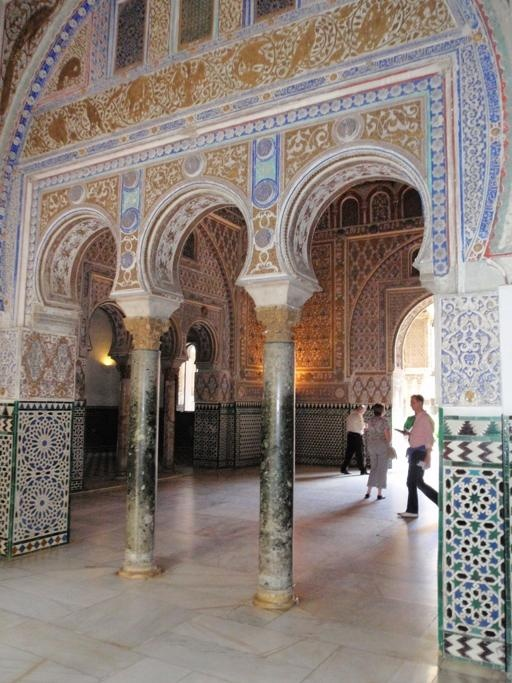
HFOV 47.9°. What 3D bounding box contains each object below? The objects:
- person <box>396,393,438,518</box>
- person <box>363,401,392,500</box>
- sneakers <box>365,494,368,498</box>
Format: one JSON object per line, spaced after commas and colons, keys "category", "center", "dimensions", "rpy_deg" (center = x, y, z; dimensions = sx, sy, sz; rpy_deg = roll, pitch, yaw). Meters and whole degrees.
{"category": "person", "center": [1.785, 1.313, 6.426], "dimensions": [0.417, 1.416, 1.073], "rpy_deg": [-2, -7, 13]}
{"category": "person", "center": [1.723, 1.493, 7.875], "dimensions": [0.395, 1.273, 0.351], "rpy_deg": [-2, 3, -44]}
{"category": "sneakers", "center": [1.521, 2.131, 7.956], "dimensions": [0.064, 0.054, 0.179], "rpy_deg": [-2, -9, 11]}
